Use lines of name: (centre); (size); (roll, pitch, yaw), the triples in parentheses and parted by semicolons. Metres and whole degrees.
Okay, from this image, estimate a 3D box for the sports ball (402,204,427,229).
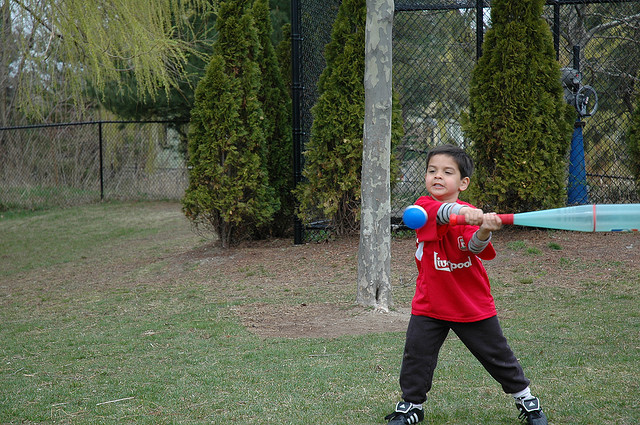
sports ball: (0.844, 0.049, 6.293); (0.224, 0.219, 0.180); (-5, 12, -2)
